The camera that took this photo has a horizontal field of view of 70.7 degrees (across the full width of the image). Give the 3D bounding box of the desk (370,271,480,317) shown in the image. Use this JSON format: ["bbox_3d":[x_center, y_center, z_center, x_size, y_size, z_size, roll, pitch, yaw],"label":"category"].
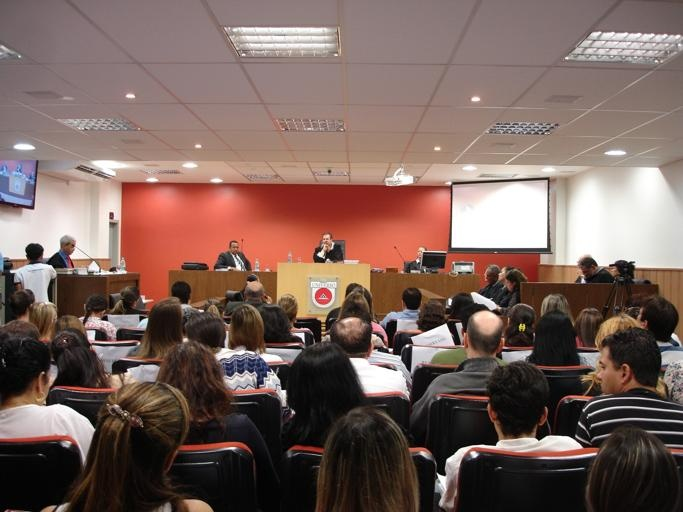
[{"bbox_3d":[1.370,0.604,7.779,1.680,0.590,0.457,-1,-5,31],"label":"desk"}]

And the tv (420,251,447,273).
[{"bbox_3d":[1.578,0.086,8.393,0.416,0.382,0.189,4,-11,3],"label":"tv"}]

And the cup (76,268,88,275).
[{"bbox_3d":[-3.921,0.225,7.333,0.106,0.069,0.109,-1,1,0],"label":"cup"}]

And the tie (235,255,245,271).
[{"bbox_3d":[-1.903,0.116,9.105,0.185,0.328,0.123,0,-19,-43],"label":"tie"}]

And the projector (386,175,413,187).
[{"bbox_3d":[1.084,-1.443,9.138,0.420,0.215,0.567,-1,3,8],"label":"projector"}]
